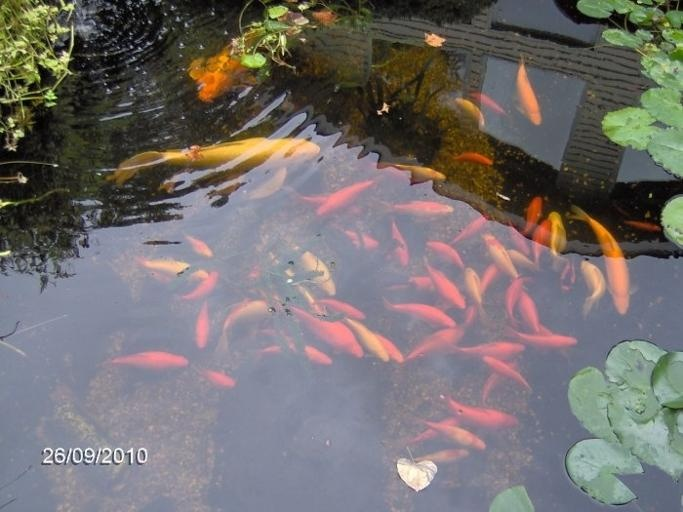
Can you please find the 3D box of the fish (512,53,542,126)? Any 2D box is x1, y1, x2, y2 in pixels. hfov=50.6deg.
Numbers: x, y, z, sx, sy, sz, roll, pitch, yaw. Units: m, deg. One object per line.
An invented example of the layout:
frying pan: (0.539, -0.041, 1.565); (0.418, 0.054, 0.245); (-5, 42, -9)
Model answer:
fish: (1.673, -1.561, 6.719); (0.151, 0.277, 0.722); (7, 54, -20)

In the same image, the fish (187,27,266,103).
fish: (-1.170, -1.736, 6.858); (0.480, 0.140, 0.557); (-1, 73, -11)
